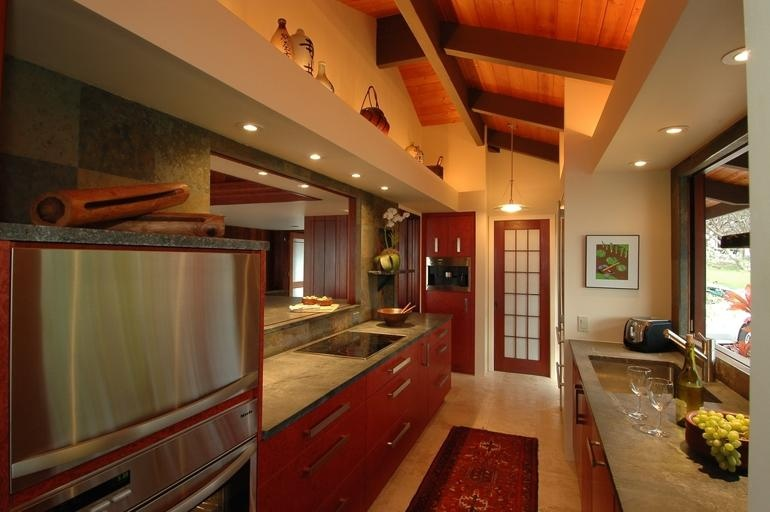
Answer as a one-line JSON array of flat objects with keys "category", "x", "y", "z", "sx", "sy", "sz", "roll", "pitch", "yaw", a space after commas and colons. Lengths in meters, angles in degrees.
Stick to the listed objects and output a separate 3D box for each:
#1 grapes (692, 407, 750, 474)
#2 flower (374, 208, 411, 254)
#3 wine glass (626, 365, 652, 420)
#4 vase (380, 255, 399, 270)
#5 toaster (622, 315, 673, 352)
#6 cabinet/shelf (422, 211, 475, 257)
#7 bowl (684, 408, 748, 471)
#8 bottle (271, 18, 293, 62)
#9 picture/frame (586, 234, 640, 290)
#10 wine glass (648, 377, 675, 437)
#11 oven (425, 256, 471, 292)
[{"category": "grapes", "x": 1.447, "y": 0.786, "z": 2.234, "sx": 0.222, "sy": 0.222, "sz": 0.193, "roll": 4, "pitch": 7, "yaw": 32}, {"category": "flower", "x": 0.109, "y": -0.262, "z": 4.996, "sx": 0.255, "sy": 0.418, "sz": 0.609, "roll": 1, "pitch": 6, "yaw": 10}, {"category": "wine glass", "x": 1.319, "y": 0.667, "z": 2.652, "sx": 0.093, "sy": 0.245, "sz": 0.333, "roll": 3, "pitch": 7, "yaw": 28}, {"category": "vase", "x": 0.047, "y": 0.051, "z": 4.605, "sx": 0.192, "sy": 0.143, "sz": 0.049, "roll": -3, "pitch": 6, "yaw": -27}, {"category": "toaster", "x": 1.824, "y": 0.540, "z": 3.547, "sx": 0.216, "sy": 0.257, "sz": 0.281, "roll": 2, "pitch": -3, "yaw": -1}, {"category": "cabinet/shelf", "x": 0.800, "y": -0.271, "z": 6.154, "sx": 0.496, "sy": 0.464, "sz": 0.198, "roll": 0, "pitch": -3, "yaw": 21}, {"category": "bowl", "x": 1.408, "y": 0.773, "z": 2.219, "sx": 0.270, "sy": 0.125, "sz": 0.266, "roll": -6, "pitch": 3, "yaw": 0}, {"category": "bottle", "x": -0.570, "y": -1.221, "z": 2.848, "sx": 0.107, "sy": 0.232, "sz": 0.209, "roll": -1, "pitch": 6, "yaw": -9}, {"category": "picture/frame", "x": 1.730, "y": 0.035, "z": 3.843, "sx": 0.389, "sy": 0.472, "sz": 0.022, "roll": 0, "pitch": -3, "yaw": 13}, {"category": "wine glass", "x": 1.353, "y": 0.697, "z": 2.502, "sx": 0.102, "sy": 0.252, "sz": 0.301, "roll": 3, "pitch": 7, "yaw": 31}, {"category": "oven", "x": 0.776, "y": 0.204, "z": 6.173, "sx": 0.629, "sy": 0.500, "sz": 0.354, "roll": -1, "pitch": -6, "yaw": 25}]
